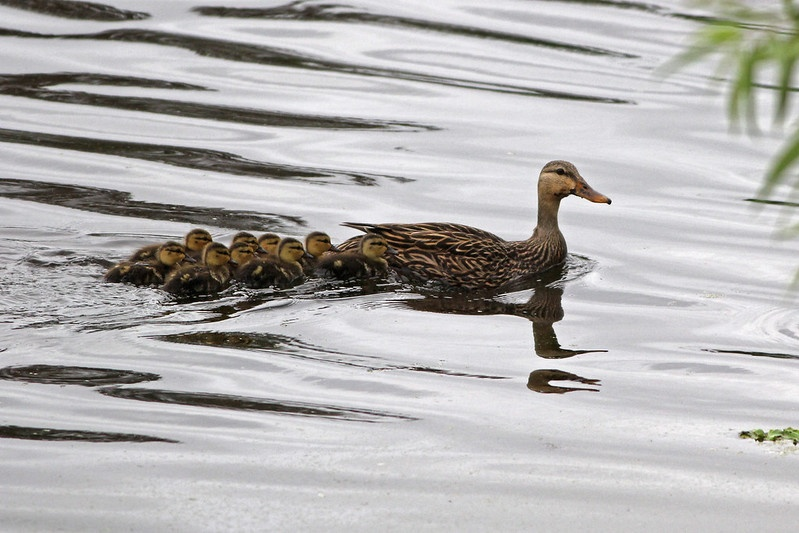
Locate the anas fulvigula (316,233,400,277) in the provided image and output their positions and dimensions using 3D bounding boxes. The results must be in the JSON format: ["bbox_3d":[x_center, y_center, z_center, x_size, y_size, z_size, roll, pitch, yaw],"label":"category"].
[{"bbox_3d":[-0.626,-0.070,10.499,0.983,0.372,0.447,-11,28,-32],"label":"anas fulvigula"}]

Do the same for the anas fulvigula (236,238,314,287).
[{"bbox_3d":[-1.508,-0.028,10.226,0.637,0.431,0.897,23,20,28],"label":"anas fulvigula"}]

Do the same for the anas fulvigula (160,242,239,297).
[{"bbox_3d":[-2.063,0.029,9.799,0.555,0.504,0.673,13,17,8],"label":"anas fulvigula"}]
